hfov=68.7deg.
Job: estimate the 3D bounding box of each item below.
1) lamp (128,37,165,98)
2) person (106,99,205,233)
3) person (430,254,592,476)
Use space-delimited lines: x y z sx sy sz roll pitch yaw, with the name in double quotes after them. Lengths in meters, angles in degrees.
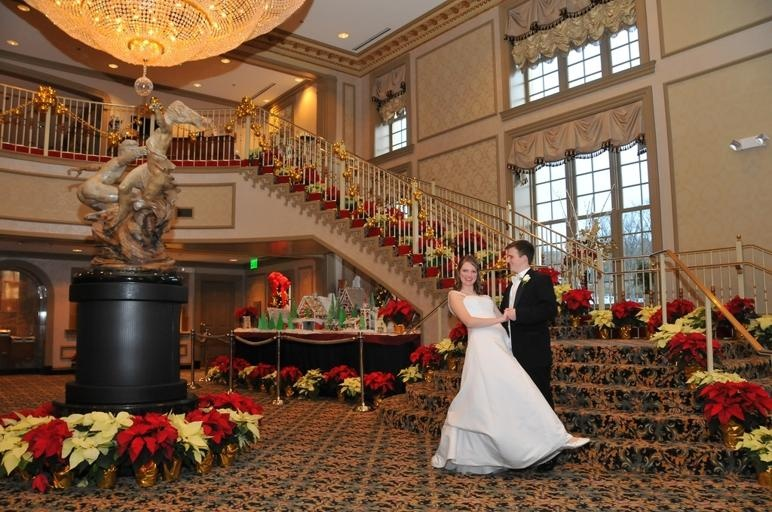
-3.353 -2.566 7.889 0.537 0.683 0.527 4 -6 1 "lamp"
-2.527 -1.042 6.317 0.988 1.472 0.448 -4 -4 11 "person"
1.043 1.051 5.559 1.179 2.139 0.418 -4 -4 3 "person"
